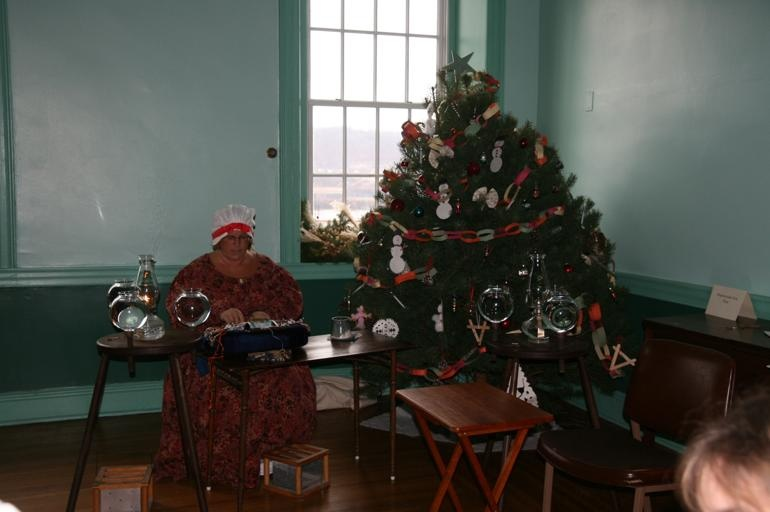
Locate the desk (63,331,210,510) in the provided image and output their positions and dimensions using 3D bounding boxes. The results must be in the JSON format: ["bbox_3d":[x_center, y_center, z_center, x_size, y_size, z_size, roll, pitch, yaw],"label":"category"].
[{"bbox_3d":[-1.782,1.169,3.969,0.899,1.194,0.837,3,-18,-14],"label":"desk"}]

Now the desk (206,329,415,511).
[{"bbox_3d":[-0.535,0.999,3.944,1.372,1.162,0.872,-6,10,-34],"label":"desk"}]

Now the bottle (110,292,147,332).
[{"bbox_3d":[-1.528,0.332,3.365,0.182,0.246,0.119,-2,6,-11],"label":"bottle"}]

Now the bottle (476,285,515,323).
[{"bbox_3d":[0.743,0.342,3.821,0.241,0.281,0.247,3,5,27],"label":"bottle"}]

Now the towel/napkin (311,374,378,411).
[{"bbox_3d":[-0.420,1.244,5.210,0.403,0.101,0.338,0,15,-25],"label":"towel/napkin"}]

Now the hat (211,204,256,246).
[{"bbox_3d":[-1.146,-0.266,4.264,0.279,0.314,0.168,4,14,-8],"label":"hat"}]

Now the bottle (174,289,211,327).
[{"bbox_3d":[-1.202,0.323,3.500,0.191,0.255,0.127,-3,9,-18],"label":"bottle"}]

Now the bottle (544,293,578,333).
[{"bbox_3d":[1.140,0.367,3.637,0.219,0.278,0.123,-2,8,-7],"label":"bottle"}]

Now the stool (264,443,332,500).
[{"bbox_3d":[-0.598,1.465,3.859,0.345,0.262,0.340,-4,5,-45],"label":"stool"}]
